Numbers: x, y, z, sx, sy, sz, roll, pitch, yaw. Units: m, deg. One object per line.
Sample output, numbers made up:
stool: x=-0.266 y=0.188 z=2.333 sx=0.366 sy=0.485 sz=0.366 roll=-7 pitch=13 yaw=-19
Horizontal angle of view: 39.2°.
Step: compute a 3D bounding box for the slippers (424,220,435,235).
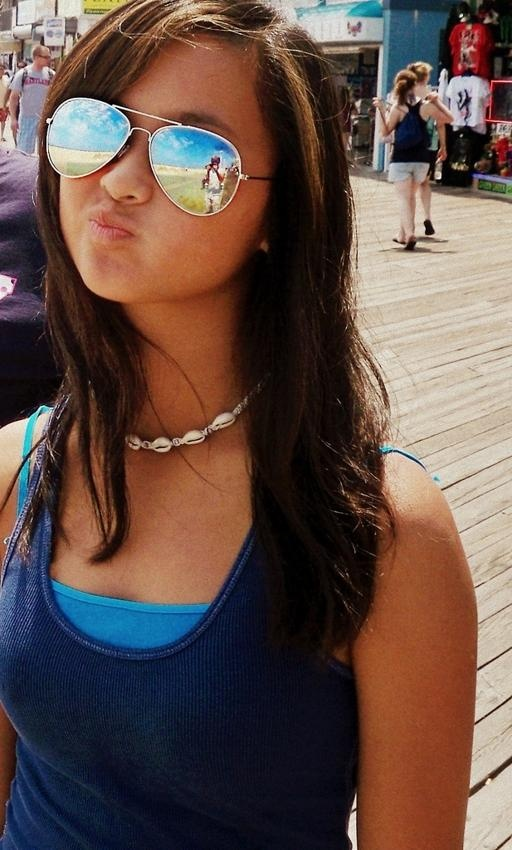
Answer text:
slippers: x=2.299 y=-2.582 z=9.499 sx=0.113 sy=0.140 sz=0.362 roll=-2 pitch=-2 yaw=9
